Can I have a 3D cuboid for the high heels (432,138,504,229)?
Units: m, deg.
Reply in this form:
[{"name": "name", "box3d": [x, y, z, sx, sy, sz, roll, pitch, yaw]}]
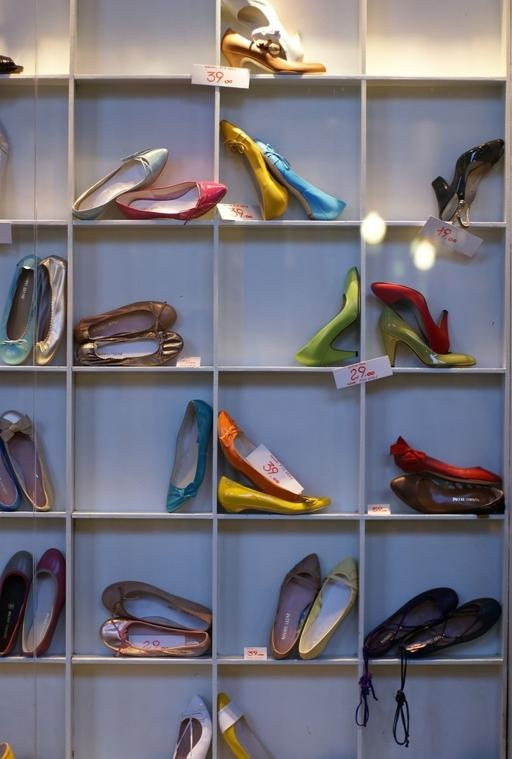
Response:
[{"name": "high heels", "box3d": [0.670, -0.636, 2.276, 0.098, 0.115, 0.278, 32, -67, -15]}]
